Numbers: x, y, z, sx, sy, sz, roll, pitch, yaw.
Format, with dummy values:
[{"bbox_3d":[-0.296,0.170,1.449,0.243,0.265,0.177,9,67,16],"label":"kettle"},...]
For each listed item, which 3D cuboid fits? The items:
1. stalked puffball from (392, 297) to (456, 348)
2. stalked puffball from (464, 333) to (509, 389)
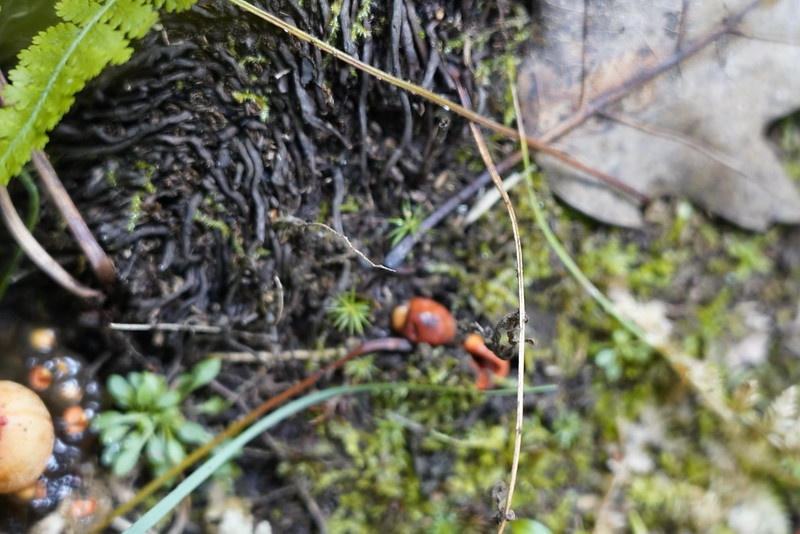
[{"bbox_3d":[0.100,0.235,3.283,0.227,0.175,0.146,13,61,-5],"label":"stalked puffball"},{"bbox_3d":[0.361,0.392,3.350,0.157,0.120,0.215,-18,58,-9],"label":"stalked puffball"}]
